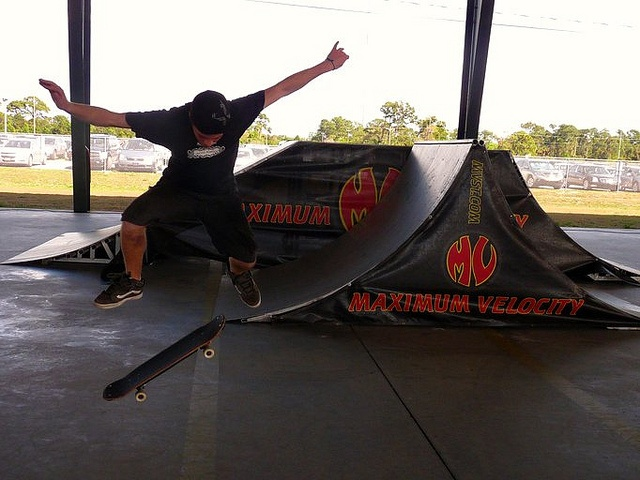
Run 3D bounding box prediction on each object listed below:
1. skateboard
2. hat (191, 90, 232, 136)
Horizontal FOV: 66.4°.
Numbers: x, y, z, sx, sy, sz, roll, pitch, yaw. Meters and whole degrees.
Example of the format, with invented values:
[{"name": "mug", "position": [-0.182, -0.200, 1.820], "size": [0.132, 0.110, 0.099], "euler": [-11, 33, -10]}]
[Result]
[{"name": "skateboard", "position": [-0.869, 0.671, 2.731], "size": [0.642, 0.094, 0.157], "euler": [-29, 34, -16]}, {"name": "hat", "position": [-0.603, -0.700, 2.727], "size": [0.213, 0.240, 0.144], "euler": [2, -24, -13]}]
